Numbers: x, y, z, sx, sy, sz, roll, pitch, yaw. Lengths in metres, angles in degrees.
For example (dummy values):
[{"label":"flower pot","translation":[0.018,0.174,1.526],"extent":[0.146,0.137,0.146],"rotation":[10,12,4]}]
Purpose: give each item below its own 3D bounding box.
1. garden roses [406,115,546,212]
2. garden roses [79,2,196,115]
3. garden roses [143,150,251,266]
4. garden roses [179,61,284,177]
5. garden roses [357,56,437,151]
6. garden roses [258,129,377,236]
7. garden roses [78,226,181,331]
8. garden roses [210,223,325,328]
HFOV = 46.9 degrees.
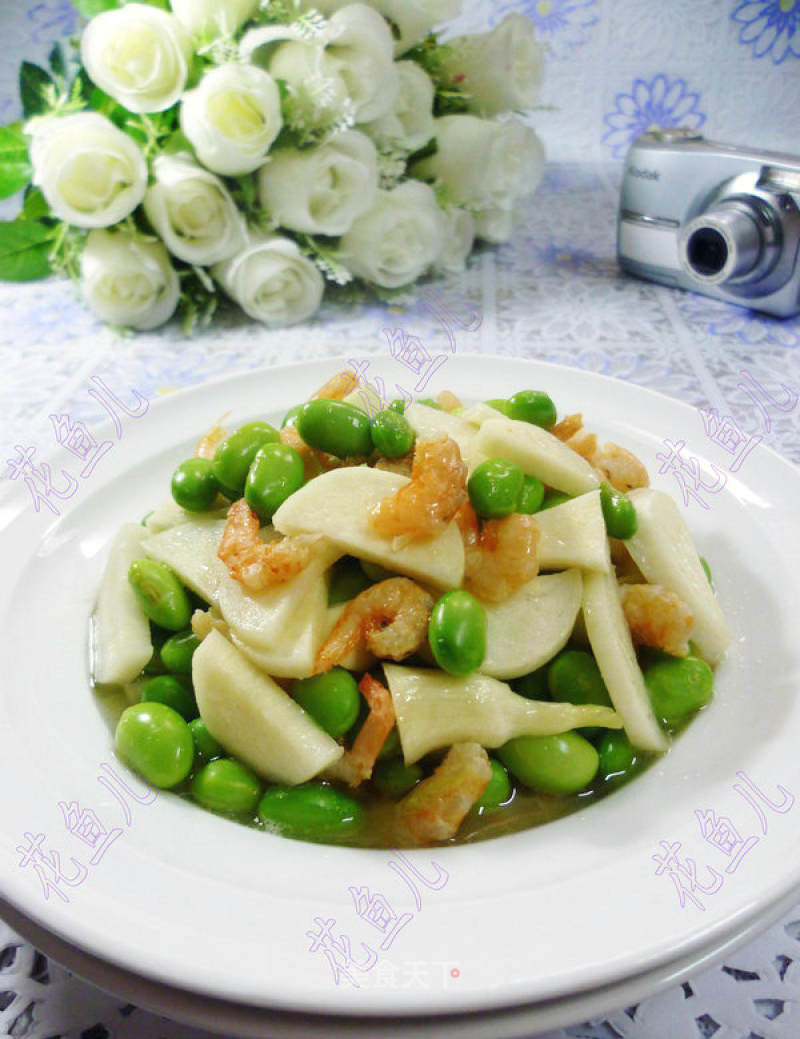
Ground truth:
[{"label":"garden roses","translation":[0.205,-0.851,2.221],"extent":[0.244,0.108,0.284],"rotation":[-20,59,-14]},{"label":"garden roses","translation":[-0.509,-0.893,1.787],"extent":[0.172,0.159,0.119],"rotation":[-1,55,5]},{"label":"garden roses","translation":[-0.422,-0.633,1.905],"extent":[0.205,0.226,0.123],"rotation":[-9,26,6]},{"label":"garden roses","translation":[-0.326,-0.777,1.825],"extent":[0.193,0.197,0.123],"rotation":[-10,17,-10]},{"label":"garden roses","translation":[0.011,-0.911,2.052],"extent":[0.207,0.066,0.188],"rotation":[-18,77,23]},{"label":"garden roses","translation":[-0.167,-0.706,1.952],"extent":[0.232,0.220,0.106],"rotation":[17,22,-13]},{"label":"garden roses","translation":[-0.579,-0.505,1.989],"extent":[0.202,0.198,0.093],"rotation":[-9,31,25]},{"label":"garden roses","translation":[-0.249,-0.561,2.055],"extent":[0.250,0.107,0.234],"rotation":[-20,15,-25]}]
